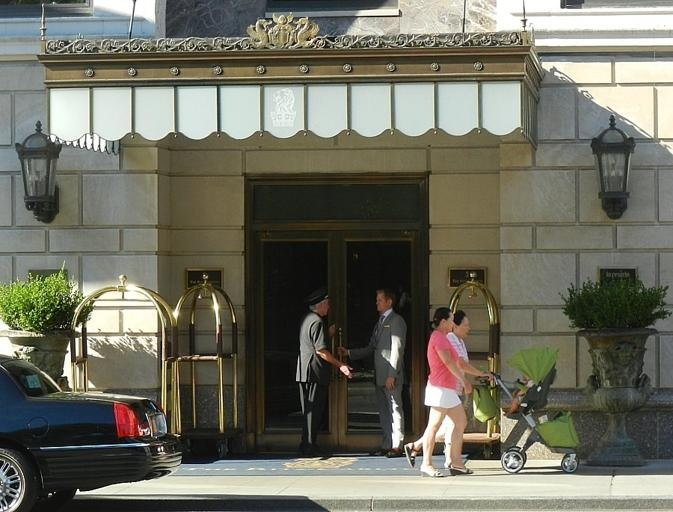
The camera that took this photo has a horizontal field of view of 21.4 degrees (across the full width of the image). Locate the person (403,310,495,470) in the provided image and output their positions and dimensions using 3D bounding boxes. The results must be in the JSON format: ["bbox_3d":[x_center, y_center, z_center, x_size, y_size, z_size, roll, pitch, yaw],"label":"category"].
[{"bbox_3d":[1.544,1.696,23.429,0.952,2.015,1.104,4,3,20],"label":"person"}]

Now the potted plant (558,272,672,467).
[{"bbox_3d":[3.652,1.518,23.631,1.258,2.414,0.825,4,9,10],"label":"potted plant"}]

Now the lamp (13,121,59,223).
[{"bbox_3d":[-4.053,-1.126,24.260,0.619,1.406,0.528,1,9,-10],"label":"lamp"}]

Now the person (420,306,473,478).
[{"bbox_3d":[1.449,1.759,23.081,0.639,2.130,0.582,3,9,3],"label":"person"}]

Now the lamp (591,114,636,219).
[{"bbox_3d":[3.665,-1.195,24.001,0.558,1.390,0.397,4,9,8],"label":"lamp"}]

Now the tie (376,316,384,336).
[{"bbox_3d":[0.579,0.941,24.551,0.051,0.191,0.135,11,-7,-20],"label":"tie"}]

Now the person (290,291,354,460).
[{"bbox_3d":[-0.186,1.591,24.483,0.815,2.207,0.766,1,-3,-13],"label":"person"}]
